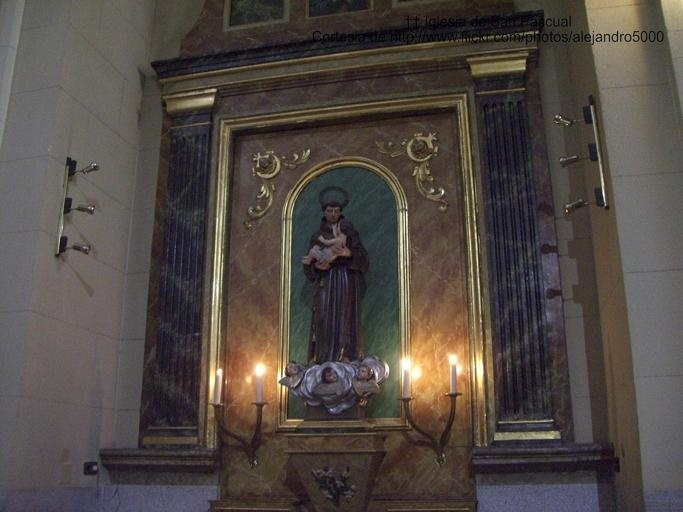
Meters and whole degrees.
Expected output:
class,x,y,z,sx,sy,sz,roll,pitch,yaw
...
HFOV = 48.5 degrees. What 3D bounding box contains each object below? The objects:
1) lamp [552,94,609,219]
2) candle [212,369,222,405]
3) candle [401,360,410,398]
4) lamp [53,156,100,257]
class,x,y,z,sx,sy,sz,roll,pitch,yaw
lamp,1.632,-0.658,5.164,0.265,0.865,0.192,-9,-23,19
candle,-0.874,0.943,5.406,0.067,0.293,0.227,2,-17,-9
candle,0.447,0.853,5.209,0.067,0.304,0.192,-2,-17,5
lamp,-1.891,-0.347,5.464,0.241,0.790,0.365,5,-17,-19
